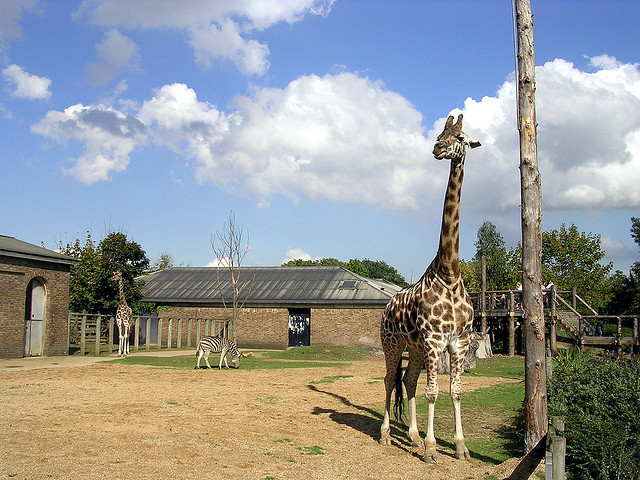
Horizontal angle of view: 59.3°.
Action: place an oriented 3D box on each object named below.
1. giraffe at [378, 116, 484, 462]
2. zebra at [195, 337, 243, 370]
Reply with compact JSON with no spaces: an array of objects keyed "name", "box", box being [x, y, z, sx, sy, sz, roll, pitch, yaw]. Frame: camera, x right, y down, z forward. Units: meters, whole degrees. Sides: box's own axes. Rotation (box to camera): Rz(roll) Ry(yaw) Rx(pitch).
[{"name":"giraffe","box":[2.291,1.221,11.609,1.407,6.518,3.965,3,-10,-16]},{"name":"zebra","box":[-4.138,4.616,22.915,1.632,1.250,2.169,0,-9,-3]}]
